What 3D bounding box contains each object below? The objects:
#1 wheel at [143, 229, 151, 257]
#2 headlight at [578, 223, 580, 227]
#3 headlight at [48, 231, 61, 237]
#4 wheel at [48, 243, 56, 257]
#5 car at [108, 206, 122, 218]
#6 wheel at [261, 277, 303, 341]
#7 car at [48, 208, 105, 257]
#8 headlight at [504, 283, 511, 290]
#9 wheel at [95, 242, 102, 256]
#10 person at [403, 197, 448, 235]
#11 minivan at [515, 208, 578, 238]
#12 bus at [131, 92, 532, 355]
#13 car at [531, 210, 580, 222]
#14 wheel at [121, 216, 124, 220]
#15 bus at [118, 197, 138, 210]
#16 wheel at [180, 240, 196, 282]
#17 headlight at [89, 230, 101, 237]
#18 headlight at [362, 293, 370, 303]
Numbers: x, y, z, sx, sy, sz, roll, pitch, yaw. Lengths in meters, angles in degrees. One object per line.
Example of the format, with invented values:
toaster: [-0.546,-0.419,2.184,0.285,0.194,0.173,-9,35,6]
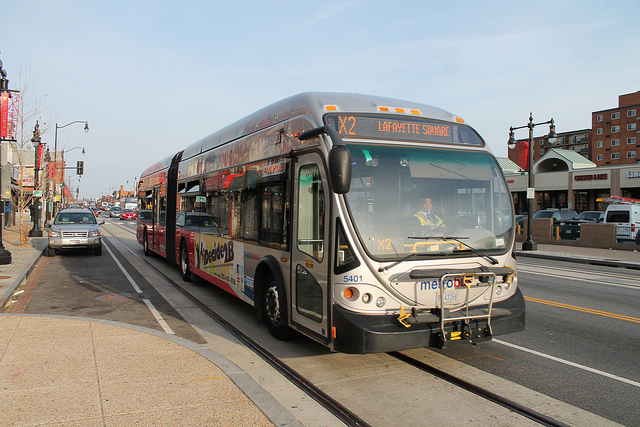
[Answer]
wheel: [-7.725,1.277,20.176,0.387,1.163,1.186,1,6,-22]
headlight: [16.811,0.731,29.206,0.045,0.168,0.185,3,8,-10]
headlight: [-11.814,0.907,19.995,0.820,0.247,0.240,3,3,33]
wheel: [-12.020,1.607,20.212,0.214,0.623,0.635,2,4,-17]
car: [-35.032,-0.365,77.045,2.160,1.607,4.911,-2,-3,-29]
wheel: [-0.721,1.745,8.830,0.565,1.338,1.364,-2,20,-22]
car: [-11.362,0.888,20.860,2.083,2.072,2.702,-1,3,-30]
headlight: [3.130,1.206,7.507,0.026,0.105,0.110,4,6,-45]
wheel: [-10.152,1.591,20.594,0.210,0.612,0.622,0,6,-7]
person: [1.731,0.047,7.225,0.441,0.632,0.819,2,-3,43]
minivan: [15.904,0.706,31.401,4.412,1.765,2.109,2,-3,-30]
bus: [-1.604,-0.008,13.888,4.130,4.262,15.904,0,0,-28]
car: [18.434,0.118,34.706,2.725,0.952,1.302,1,-1,-17]
wheel: [-30.470,0.588,69.505,0.162,0.674,0.641,11,45,-1]
bus: [-30.661,-1.671,72.222,1.642,1.836,4.031,-1,4,-36]
wheel: [-4.090,1.455,13.998,0.456,1.356,1.383,2,1,-24]
headlight: [-10.145,0.880,20.386,0.322,0.265,0.678,1,3,8]
headlight: [0.690,1.260,6.763,0.118,0.114,0.113,4,2,0]
